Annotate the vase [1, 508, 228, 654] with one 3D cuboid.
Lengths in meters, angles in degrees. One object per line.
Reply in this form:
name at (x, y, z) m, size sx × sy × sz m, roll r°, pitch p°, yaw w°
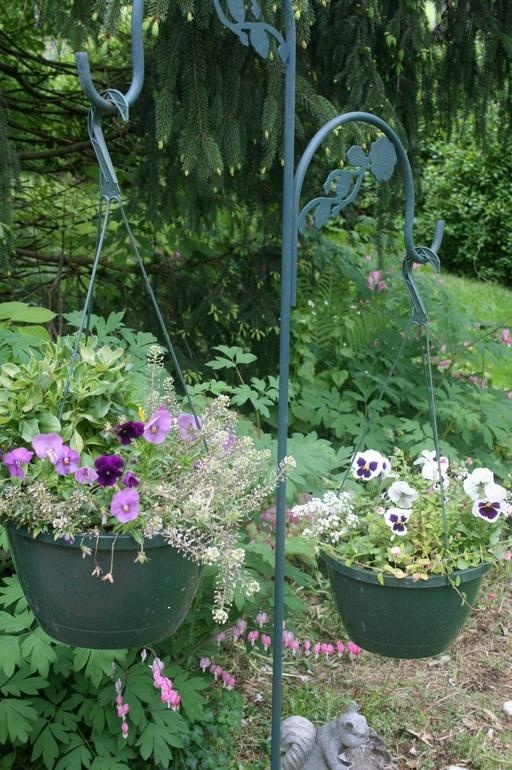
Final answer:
vase at (-0.309, 0.364, 1.765) m, size 0.308 × 0.186 × 0.301 m, roll 5°, pitch -5°, yaw -39°
